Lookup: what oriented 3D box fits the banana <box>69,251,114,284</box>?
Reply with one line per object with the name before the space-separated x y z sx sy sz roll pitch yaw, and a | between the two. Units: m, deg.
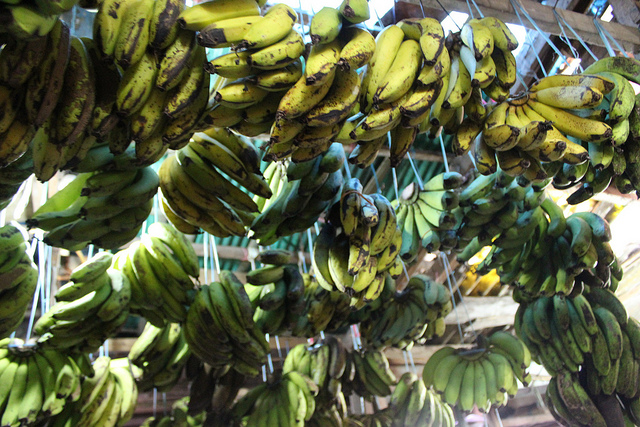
banana | -1.111 0.261 3.161 0.183 0.192 0.173 8 -19 -23

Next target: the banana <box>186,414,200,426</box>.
banana | -0.723 1.205 3.740 0.046 0.071 0.062 -30 -26 -19

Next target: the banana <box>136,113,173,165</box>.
banana | -0.698 -0.324 2.725 0.046 0.181 0.053 29 -3 -34

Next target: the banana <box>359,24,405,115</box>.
banana | 0.276 -0.647 2.825 0.122 0.484 0.144 32 -29 -26

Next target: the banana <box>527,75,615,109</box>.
banana | 1.156 -0.561 2.986 0.182 0.129 0.340 -27 34 -31

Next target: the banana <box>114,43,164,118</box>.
banana | -0.707 -0.550 2.686 0.116 0.118 0.394 2 -41 -36

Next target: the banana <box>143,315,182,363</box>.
banana | -0.854 0.686 3.514 0.064 0.303 0.097 39 -24 -33

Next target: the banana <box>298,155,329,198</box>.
banana | -0.030 -0.153 3.075 0.071 0.284 0.090 29 -15 0

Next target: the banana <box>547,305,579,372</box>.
banana | 1.555 0.769 4.108 0.104 0.222 0.632 -26 0 26

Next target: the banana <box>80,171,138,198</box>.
banana | -0.961 -0.140 2.973 0.217 0.122 0.081 -8 -26 -17

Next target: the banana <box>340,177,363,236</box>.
banana | 0.151 -0.023 3.041 0.075 0.301 0.094 -10 -38 22

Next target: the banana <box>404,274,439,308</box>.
banana | 0.620 0.459 3.823 0.059 0.145 0.226 12 -14 -13

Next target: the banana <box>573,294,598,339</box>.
banana | 1.568 0.599 3.828 0.073 0.304 0.088 1 -43 -11

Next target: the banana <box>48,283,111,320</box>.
banana | -1.172 0.482 3.183 0.362 0.134 0.106 -24 -23 12

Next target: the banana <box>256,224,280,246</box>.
banana | -0.258 0.106 3.274 0.099 0.031 0.062 -48 -2 22

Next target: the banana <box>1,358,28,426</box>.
banana | -1.465 0.891 3.169 0.050 0.292 0.092 5 -18 7

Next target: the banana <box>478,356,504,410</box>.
banana | 1.042 1.016 3.927 0.072 0.350 0.110 -5 -29 -10

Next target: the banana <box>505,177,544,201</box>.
banana | 1.093 -0.122 3.473 0.083 0.067 0.248 -38 -12 -15

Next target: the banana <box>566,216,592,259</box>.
banana | 1.485 0.131 3.674 0.153 0.096 0.342 5 26 14

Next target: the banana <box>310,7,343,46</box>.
banana | 0.031 -0.787 2.697 0.088 0.188 0.072 33 -46 -3

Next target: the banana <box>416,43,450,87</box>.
banana | 0.491 -0.634 2.743 0.105 0.210 0.060 21 -43 16

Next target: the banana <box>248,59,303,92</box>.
banana | -0.188 -0.569 2.663 0.180 0.068 0.052 -25 -13 0

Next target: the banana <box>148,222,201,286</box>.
banana | -0.775 0.135 3.316 0.083 0.305 0.108 27 -37 42

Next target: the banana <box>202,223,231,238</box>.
banana | -0.500 0.080 3.178 0.118 0.031 0.041 27 -24 -23

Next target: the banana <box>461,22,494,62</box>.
banana | 0.690 -0.746 2.824 0.062 0.193 0.094 27 -63 -38

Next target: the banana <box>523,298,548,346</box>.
banana | 1.306 0.682 3.962 0.064 0.235 0.182 2 17 7

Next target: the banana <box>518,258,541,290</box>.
banana | 1.259 0.364 3.855 0.045 0.186 0.060 33 -16 -3

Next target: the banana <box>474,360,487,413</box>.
banana | 0.974 1.047 3.926 0.065 0.279 0.088 1 -31 -6

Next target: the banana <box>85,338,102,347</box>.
banana | -1.133 0.653 3.247 0.083 0.037 0.060 6 -19 -19

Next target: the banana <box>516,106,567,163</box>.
banana | 1.009 -0.354 2.917 0.226 0.076 0.152 28 -2 -13

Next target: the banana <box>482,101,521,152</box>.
banana | 0.830 -0.386 2.929 0.092 0.197 0.071 -38 -69 17

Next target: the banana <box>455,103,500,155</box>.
banana | 0.713 -0.379 2.951 0.089 0.276 0.072 35 -3 -25

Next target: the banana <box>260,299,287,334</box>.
banana | -0.249 0.573 3.574 0.074 0.100 0.277 34 9 -4

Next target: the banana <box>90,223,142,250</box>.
banana | -0.990 0.111 3.142 0.170 0.059 0.044 -31 -46 -13

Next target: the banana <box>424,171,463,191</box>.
banana | 0.685 -0.175 3.593 0.078 0.113 0.323 -2 1 -15

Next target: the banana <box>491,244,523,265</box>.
banana | 1.108 0.249 3.802 0.175 0.081 0.127 -8 -20 21

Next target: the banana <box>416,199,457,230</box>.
banana | 0.658 0.016 3.611 0.067 0.124 0.338 -20 22 -1

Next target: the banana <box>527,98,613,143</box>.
banana | 1.169 -0.430 2.988 0.395 0.120 0.128 22 -29 25

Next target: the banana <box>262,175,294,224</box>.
banana | -0.205 -0.060 3.231 0.051 0.250 0.085 39 -22 -15

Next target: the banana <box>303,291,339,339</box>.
banana | 0.027 0.583 3.673 0.131 0.212 0.338 7 -20 -22

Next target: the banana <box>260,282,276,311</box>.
banana | -0.277 0.457 3.552 0.052 0.074 0.207 -10 18 -4

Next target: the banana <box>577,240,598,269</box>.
banana | 1.537 0.245 3.685 0.085 0.160 0.056 12 -15 -21

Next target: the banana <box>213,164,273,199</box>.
banana | -0.343 -0.131 3.012 0.290 0.078 0.108 39 -60 5

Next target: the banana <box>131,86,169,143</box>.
banana | -0.701 -0.403 2.665 0.084 0.321 0.090 26 -15 -33

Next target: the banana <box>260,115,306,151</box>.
banana | -0.131 -0.354 2.743 0.230 0.077 0.078 -35 -47 -14
